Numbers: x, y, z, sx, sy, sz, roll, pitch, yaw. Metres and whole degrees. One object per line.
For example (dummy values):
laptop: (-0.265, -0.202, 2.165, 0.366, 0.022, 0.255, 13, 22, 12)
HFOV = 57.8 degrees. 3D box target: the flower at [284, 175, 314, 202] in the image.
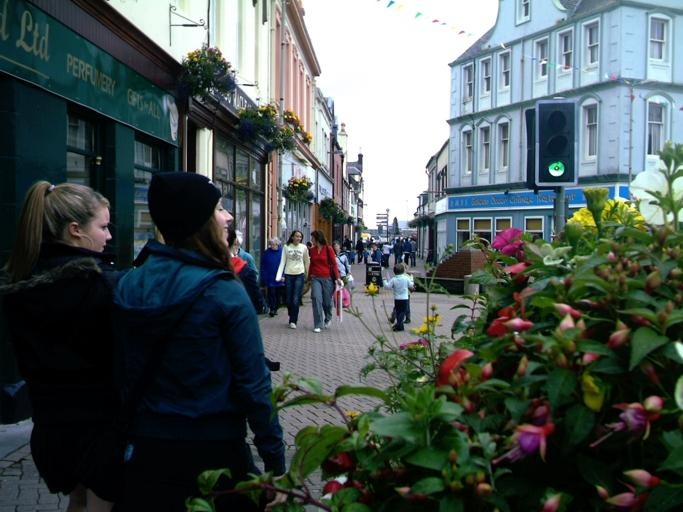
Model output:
flower: (-1.570, -2.601, 22.802, 0.973, 1.040, 1.083, 0, -19, -16)

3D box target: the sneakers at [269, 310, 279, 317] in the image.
sneakers: (-1.576, 1.312, 14.213, 0.188, 0.208, 0.063, -14, 13, -37)

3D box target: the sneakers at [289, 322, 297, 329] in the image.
sneakers: (-0.964, 1.336, 12.073, 0.081, 0.116, 0.243, 0, -5, -3)

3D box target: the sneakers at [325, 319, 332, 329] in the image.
sneakers: (-0.285, 1.349, 12.360, 0.089, 0.149, 0.052, 3, -4, -29)

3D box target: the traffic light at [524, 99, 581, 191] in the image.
traffic light: (2.597, -1.377, 7.652, 0.580, 1.138, 0.452, 1, 2, 22)

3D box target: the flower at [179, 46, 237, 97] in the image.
flower: (-2.361, -3.256, 11.001, 0.832, 1.012, 0.998, -7, 23, -27)
